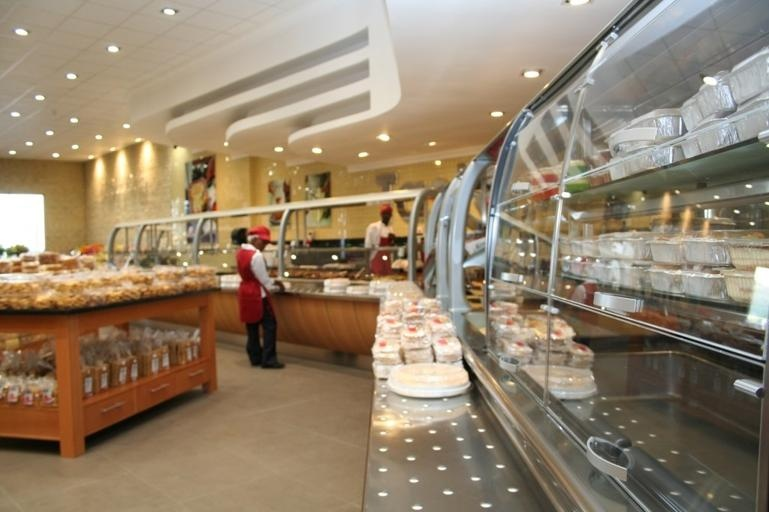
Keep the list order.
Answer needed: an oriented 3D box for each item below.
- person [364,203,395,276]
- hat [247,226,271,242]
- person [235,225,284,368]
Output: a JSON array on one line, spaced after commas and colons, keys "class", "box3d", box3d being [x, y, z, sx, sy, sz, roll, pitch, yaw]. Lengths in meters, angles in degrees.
[{"class": "person", "box3d": [-0.046, -0.167, 5.091, 0.323, 0.773, 0.173, 0, 6, 17]}, {"class": "hat", "box3d": [-1.477, -0.251, 5.613, 0.181, 0.130, 0.249, 8, 4, 34]}, {"class": "person", "box3d": [-1.418, 0.426, 5.427, 0.485, 1.512, 0.993, -3, 6, -16]}]
